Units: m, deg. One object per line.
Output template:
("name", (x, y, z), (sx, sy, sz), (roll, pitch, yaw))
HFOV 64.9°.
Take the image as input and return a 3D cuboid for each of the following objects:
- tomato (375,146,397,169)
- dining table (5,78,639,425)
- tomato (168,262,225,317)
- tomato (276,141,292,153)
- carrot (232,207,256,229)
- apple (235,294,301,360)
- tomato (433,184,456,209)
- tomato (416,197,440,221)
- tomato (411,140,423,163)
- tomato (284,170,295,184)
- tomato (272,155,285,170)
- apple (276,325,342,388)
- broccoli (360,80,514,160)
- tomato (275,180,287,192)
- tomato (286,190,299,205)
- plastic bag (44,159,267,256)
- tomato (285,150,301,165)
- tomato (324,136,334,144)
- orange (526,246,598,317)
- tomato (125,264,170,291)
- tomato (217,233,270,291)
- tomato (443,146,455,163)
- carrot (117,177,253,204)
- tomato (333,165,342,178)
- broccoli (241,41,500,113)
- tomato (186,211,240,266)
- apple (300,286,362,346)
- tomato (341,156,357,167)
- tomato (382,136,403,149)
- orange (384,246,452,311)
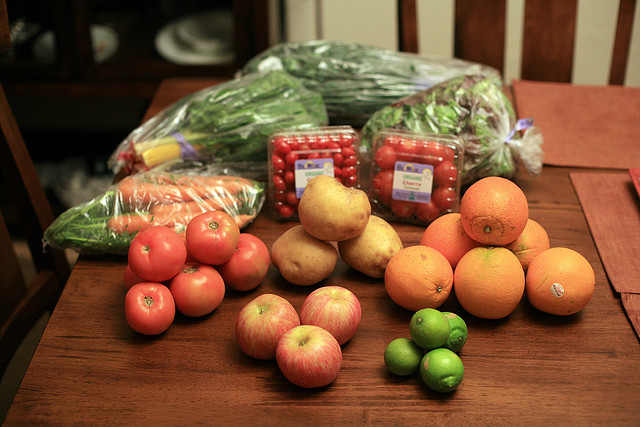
("tomato", (0.169, -0.141, 1.272), (0.051, 0.060, 0.054), (1, -4, 8))
("dining table", (0.050, 0.121, 1.268), (1.249, 0.280, 0.833), (1, 44, 5))
("tomato", (-0.272, 0.146, 1.106), (0.112, 0.098, 0.108), (-9, 16, -23))
("tomato", (-0.090, -0.165, 1.261), (0.039, 0.025, 0.019), (-6, 34, -6))
("carrot", (-0.192, 0.016, 1.268), (0.049, 0.026, 0.016), (-35, -3, -21))
("apple", (-0.093, 0.227, 1.071), (0.137, 0.114, 0.147), (-11, 29, -21))
("tomato", (0.312, -0.043, 1.263), (0.055, 0.064, 0.053), (1, 6, 10))
("tomato", (0.270, -0.009, 1.269), (0.055, 0.063, 0.055), (-1, 2, 6))
("tomato", (0.246, -0.157, 1.262), (0.045, 0.054, 0.046), (-1, 0, 7))
("tomato", (-0.076, -0.093, 1.274), (0.028, 0.034, 0.029), (1, 1, 9))
("tomato", (-0.104, -0.127, 1.268), (0.033, 0.025, 0.024), (36, 11, 17))
("apple", (-0.023, 0.275, 0.964), (0.123, 0.086, 0.084), (1, 34, 4))
("broccoli", (0.328, -0.281, 1.427), (0.356, 0.142, 0.215), (-17, 13, 16))
("tomato", (-0.099, -0.070, 1.283), (0.025, 0.031, 0.026), (14, 33, 20))
("tomato", (-0.071, -0.039, 1.286), (0.032, 0.037, 0.032), (-3, 3, -5))
("plastic bag", (-0.395, 0.019, 1.294), (0.464, 0.166, 0.255), (-6, 35, -5))
("tomato", (-0.066, -0.140, 1.264), (0.033, 0.038, 0.032), (0, -1, 3))
("tomato", (0.022, -0.188, 1.282), (0.020, 0.019, 0.020), (-8, -12, 35))
("orange", (0.502, 0.140, 1.115), (0.146, 0.141, 0.136), (-10, 8, -3))
("tomato", (-0.376, 0.138, 1.102), (0.062, 0.074, 0.062), (3, -2, 5))
("tomato", (-0.157, 0.112, 1.147), (0.111, 0.108, 0.110), (-28, 38, -6))
("tomato", (0.323, -0.147, 1.253), (0.028, 0.036, 0.020), (-14, 1, 2))
("carrot", (-0.342, -0.059, 1.309), (0.365, 0.092, 0.093), (-2, 12, -2))
("tomato", (0.045, -0.105, 1.274), (0.024, 0.028, 0.022), (-2, 8, 4))
("broccoli", (0.157, -0.392, 1.637), (0.954, 0.253, 0.299), (2, 23, 7))
("tomato", (-0.237, 0.051, 1.125), (0.105, 0.105, 0.104), (-6, -24, -7))
("apple", (0.036, 0.214, 1.040), (0.099, 0.092, 0.098), (-5, 3, -25))
("tomato", (0.073, -0.134, 1.275), (0.030, 0.022, 0.022), (2, 2, -13))
("tomato", (0.185, -0.185, 1.289), (0.033, 0.030, 0.033), (-1, 35, 2))
("orange", (0.202, 0.135, 1.093), (0.110, 0.107, 0.136), (3, 6, -39))
